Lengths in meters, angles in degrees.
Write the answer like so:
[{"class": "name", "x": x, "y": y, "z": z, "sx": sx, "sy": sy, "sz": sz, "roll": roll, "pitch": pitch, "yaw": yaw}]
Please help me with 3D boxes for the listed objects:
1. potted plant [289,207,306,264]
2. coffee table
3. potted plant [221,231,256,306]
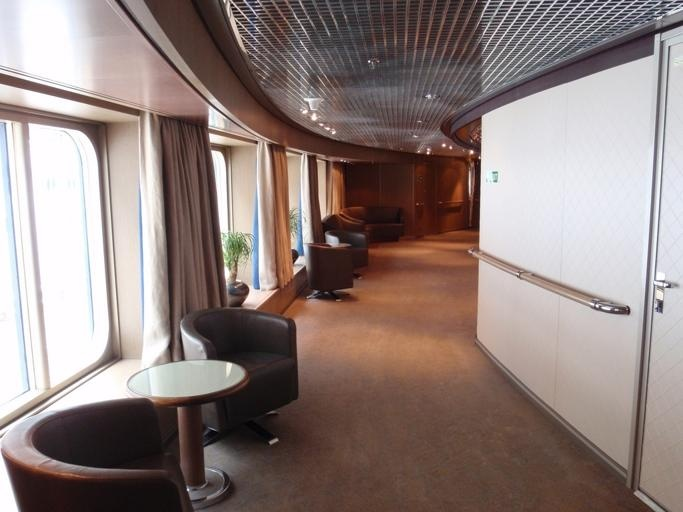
[{"class": "potted plant", "x": -1.007, "y": -0.558, "z": 10.653, "sx": 0.266, "sy": 1.107, "sz": 0.444, "roll": -2, "pitch": 10, "yaw": -7}, {"class": "coffee table", "x": -1.083, "y": 1.251, "z": 3.528, "sx": 0.828, "sy": 0.899, "sz": 0.853, "roll": -4, "pitch": 10, "yaw": -18}, {"class": "potted plant", "x": -1.299, "y": 0.185, "z": 5.912, "sx": 0.334, "sy": 0.951, "sz": 0.619, "roll": -4, "pitch": 11, "yaw": -14}]
